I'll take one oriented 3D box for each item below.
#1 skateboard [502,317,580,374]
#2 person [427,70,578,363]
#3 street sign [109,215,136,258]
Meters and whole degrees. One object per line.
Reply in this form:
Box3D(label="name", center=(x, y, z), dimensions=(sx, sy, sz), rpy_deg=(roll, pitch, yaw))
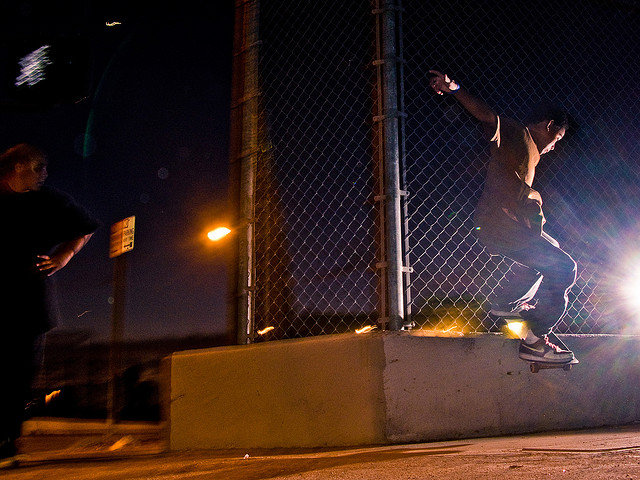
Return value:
Box3D(label="skateboard", center=(1.908, 0.933, 5.905), dimensions=(0.213, 0.333, 0.562), rpy_deg=(20, -14, -28))
Box3D(label="person", center=(1.740, -0.148, 5.934), dimensions=(1.301, 2.312, 0.489), rpy_deg=(-4, -2, -32))
Box3D(label="street sign", center=(-2.256, -0.012, 8.003), dimensions=(0.463, 0.457, 0.050), rpy_deg=(-11, -19, 38))
